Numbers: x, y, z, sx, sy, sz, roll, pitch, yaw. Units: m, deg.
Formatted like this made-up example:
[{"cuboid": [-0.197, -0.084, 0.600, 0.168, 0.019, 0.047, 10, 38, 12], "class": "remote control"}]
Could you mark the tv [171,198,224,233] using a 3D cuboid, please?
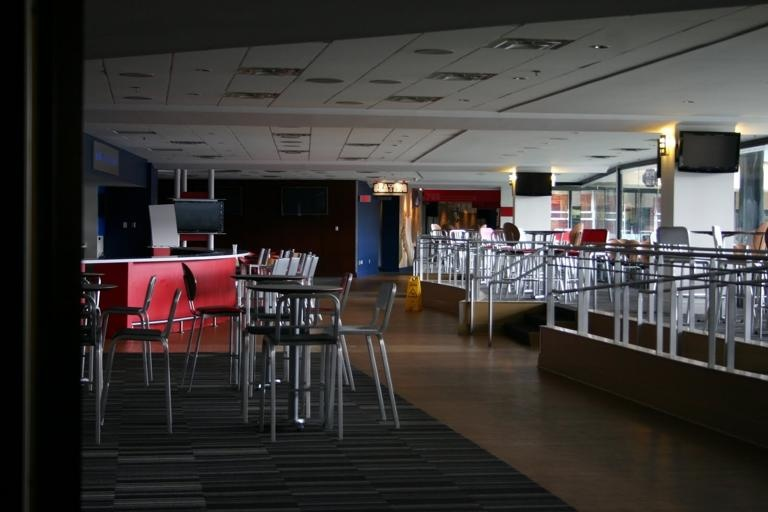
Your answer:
[{"cuboid": [-4.444, -0.935, 14.900, 1.394, 0.968, 0.750, 1, 3, -3], "class": "tv"}]

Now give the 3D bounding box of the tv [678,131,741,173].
[{"cuboid": [5.642, -1.810, 10.612, 0.706, 0.491, 0.097, 2, 2, 0], "class": "tv"}]

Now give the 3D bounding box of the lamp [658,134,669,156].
[{"cuboid": [5.081, -2.005, 11.160, 0.083, 0.404, 0.282, 0, 3, -4], "class": "lamp"}]

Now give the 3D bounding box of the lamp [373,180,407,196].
[{"cuboid": [0.243, -2.258, 20.503, 0.658, 0.231, 0.652, 1, -1, -35], "class": "lamp"}]
